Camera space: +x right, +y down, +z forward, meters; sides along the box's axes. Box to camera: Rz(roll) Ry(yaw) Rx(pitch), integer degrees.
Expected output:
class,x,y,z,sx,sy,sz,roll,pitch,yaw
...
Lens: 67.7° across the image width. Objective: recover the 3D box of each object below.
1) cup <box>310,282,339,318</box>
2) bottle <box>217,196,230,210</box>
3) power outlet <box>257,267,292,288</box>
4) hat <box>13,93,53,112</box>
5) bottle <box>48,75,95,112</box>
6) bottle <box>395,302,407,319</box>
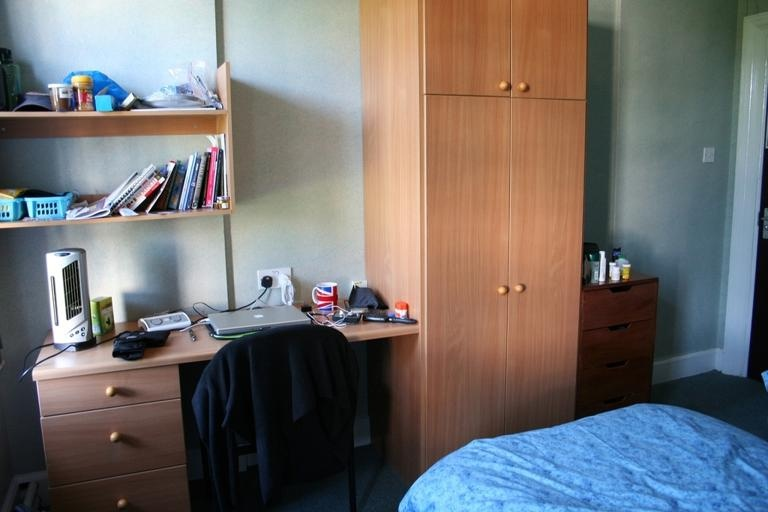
class,x,y,z,sx,sy,sz,roll,pitch,yaw
cup,-0.360,0.253,3.419,0.163,0.146,0.105,3,-4,39
bottle,-0.868,-0.289,3.117,0.071,0.077,0.071,2,9,-2
power outlet,-0.655,0.162,3.460,0.218,0.134,0.115,-2,2,-23
hat,-1.747,-0.772,2.868,0.174,0.093,0.065,-7,12,-12
bottle,-1.543,-0.812,2.894,0.231,0.201,0.152,0,3,-23
bottle,0.097,0.305,3.243,0.077,0.125,0.082,2,4,0
